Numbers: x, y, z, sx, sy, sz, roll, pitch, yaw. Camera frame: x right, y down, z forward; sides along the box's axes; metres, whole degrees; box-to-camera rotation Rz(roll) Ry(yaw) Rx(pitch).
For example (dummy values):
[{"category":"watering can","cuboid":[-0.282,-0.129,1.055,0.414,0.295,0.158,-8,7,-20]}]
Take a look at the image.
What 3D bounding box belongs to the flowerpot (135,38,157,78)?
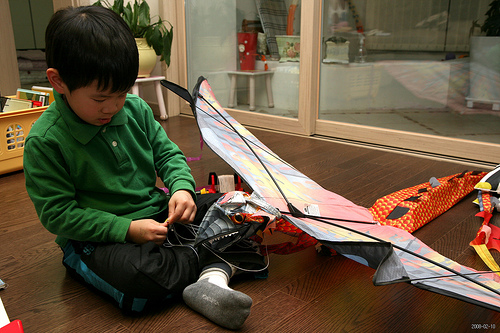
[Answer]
[{"category":"flowerpot","cuboid":[-0.944,-0.926,3.024,0.278,0.313,0.266,1,12,-13]}]
